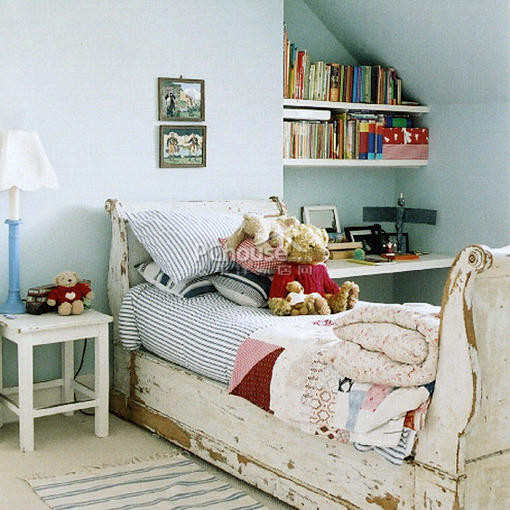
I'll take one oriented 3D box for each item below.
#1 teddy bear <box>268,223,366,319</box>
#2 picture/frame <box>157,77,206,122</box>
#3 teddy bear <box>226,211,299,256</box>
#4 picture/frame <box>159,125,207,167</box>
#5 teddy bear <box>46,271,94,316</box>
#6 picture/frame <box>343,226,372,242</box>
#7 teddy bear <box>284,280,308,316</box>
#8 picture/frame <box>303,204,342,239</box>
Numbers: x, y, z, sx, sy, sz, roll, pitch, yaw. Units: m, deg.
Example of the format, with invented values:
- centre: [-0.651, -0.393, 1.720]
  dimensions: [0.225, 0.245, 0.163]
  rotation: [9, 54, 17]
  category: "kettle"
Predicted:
- centre: [0.225, 0.076, 2.322]
  dimensions: [0.399, 0.405, 0.274]
  rotation: [-4, 3, -36]
  category: "teddy bear"
- centre: [-0.416, -0.851, 3.011]
  dimensions: [0.263, 0.217, 0.021]
  rotation: [-2, 4, -38]
  category: "picture/frame"
- centre: [0.060, -0.115, 2.569]
  dimensions: [0.179, 0.127, 0.301]
  rotation: [-7, 6, 36]
  category: "teddy bear"
- centre: [-0.412, -0.606, 3.039]
  dimensions: [0.244, 0.203, 0.019]
  rotation: [-3, 5, -37]
  category: "picture/frame"
- centre: [-0.858, 0.180, 2.543]
  dimensions: [0.195, 0.194, 0.115]
  rotation: [-8, 13, -26]
  category: "teddy bear"
- centre: [0.759, -0.160, 4.047]
  dimensions: [0.174, 0.122, 0.041]
  rotation: [-5, -10, -30]
  category: "picture/frame"
- centre: [0.178, 0.172, 2.246]
  dimensions: [0.100, 0.140, 0.094]
  rotation: [-12, 19, -36]
  category: "teddy bear"
- centre: [0.434, -0.225, 3.620]
  dimensions: [0.289, 0.250, 0.100]
  rotation: [-1, -11, -40]
  category: "picture/frame"
